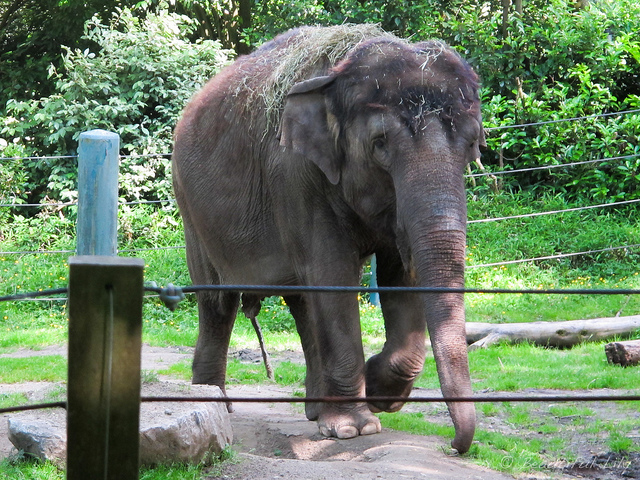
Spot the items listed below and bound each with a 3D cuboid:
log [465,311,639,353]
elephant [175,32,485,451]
[{"bbox_3d":[2.147,0.844,7.614,1.603,0.279,0.297,-3,38,4],"label":"log"},{"bbox_3d":[-0.059,-0.056,5.595,1.306,2.493,2.741,-2,0,-38],"label":"elephant"}]
